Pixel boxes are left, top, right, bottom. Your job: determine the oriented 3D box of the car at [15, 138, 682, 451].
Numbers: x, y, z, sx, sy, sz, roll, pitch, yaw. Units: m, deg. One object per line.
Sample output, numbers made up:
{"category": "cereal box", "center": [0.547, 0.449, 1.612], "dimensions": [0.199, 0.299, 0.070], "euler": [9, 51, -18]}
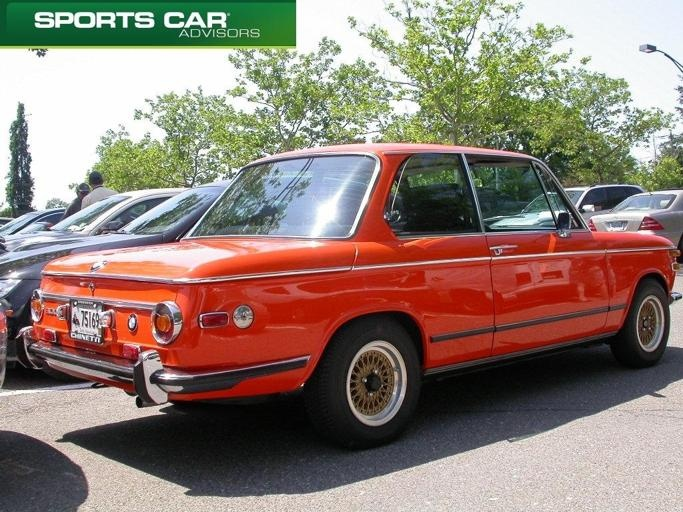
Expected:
{"category": "car", "center": [0.723, 0.125, 4.505], "dimensions": [5.911, 1.533, 2.434], "euler": [-4, 4, -32]}
